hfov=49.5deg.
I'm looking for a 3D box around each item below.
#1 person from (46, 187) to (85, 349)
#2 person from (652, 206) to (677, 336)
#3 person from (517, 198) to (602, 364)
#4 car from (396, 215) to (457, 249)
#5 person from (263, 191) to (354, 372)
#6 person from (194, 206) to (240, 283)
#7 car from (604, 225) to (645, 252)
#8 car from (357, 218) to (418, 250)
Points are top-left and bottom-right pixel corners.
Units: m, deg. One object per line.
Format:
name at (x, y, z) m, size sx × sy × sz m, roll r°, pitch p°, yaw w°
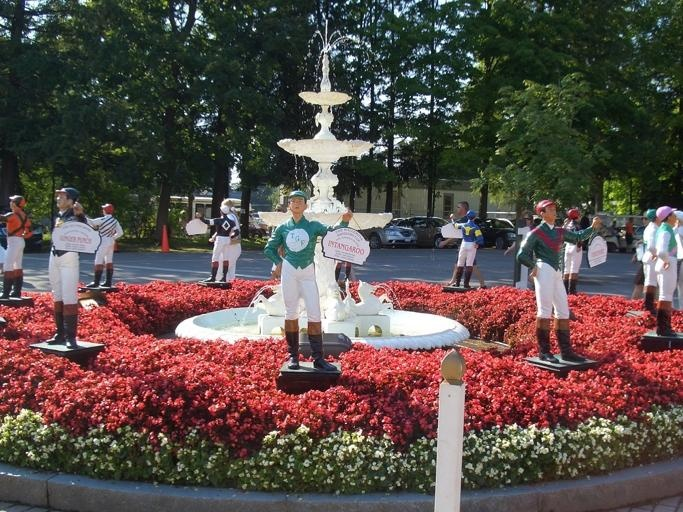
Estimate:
person at (-3.386, 0.113, 9.121) m, size 0.419 × 1.920 × 1.088 m, roll 1°, pitch 2°, yaw -22°
person at (4.803, 0.180, 10.943) m, size 0.306 × 1.317 × 1.679 m, roll 3°, pitch 2°, yaw 22°
person at (2.669, 0.250, 9.335) m, size 0.934 × 1.975 × 1.373 m, roll 3°, pitch 2°, yaw 18°
car at (4.472, -1.241, 39.480) m, size 2.999 × 1.340 × 1.480 m, roll -3°, pitch 5°, yaw 5°
person at (-0.482, 0.229, 8.473) m, size 0.799 × 1.940 × 1.017 m, roll 2°, pitch 2°, yaw -6°
person at (-2.627, -0.354, 16.365) m, size 0.743 × 1.809 × 1.375 m, roll 2°, pitch 2°, yaw -9°
car at (12.581, -0.745, 32.873) m, size 2.097 × 1.245 × 1.398 m, roll -1°, pitch 7°, yaw 10°
car at (2.534, -1.105, 37.569) m, size 1.249 × 1.043 × 2.669 m, roll -2°, pitch -1°, yaw -40°
